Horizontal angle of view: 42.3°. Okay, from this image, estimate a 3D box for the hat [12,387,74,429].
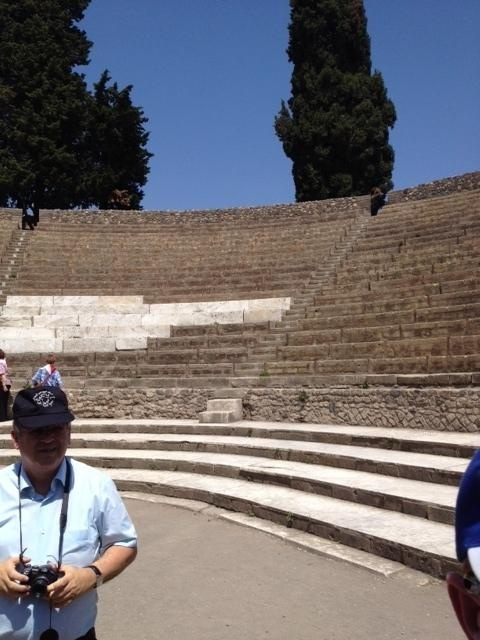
[{"bbox_3d":[-0.712,0.299,2.212,0.152,0.106,0.203,-2,-8,-19],"label":"hat"}]

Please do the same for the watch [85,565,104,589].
[{"bbox_3d":[-0.492,0.871,2.117,0.042,0.082,0.072,-10,13,-43],"label":"watch"}]

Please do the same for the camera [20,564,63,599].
[{"bbox_3d":[-0.652,0.816,1.997,0.126,0.081,0.096,9,-2,-4],"label":"camera"}]
